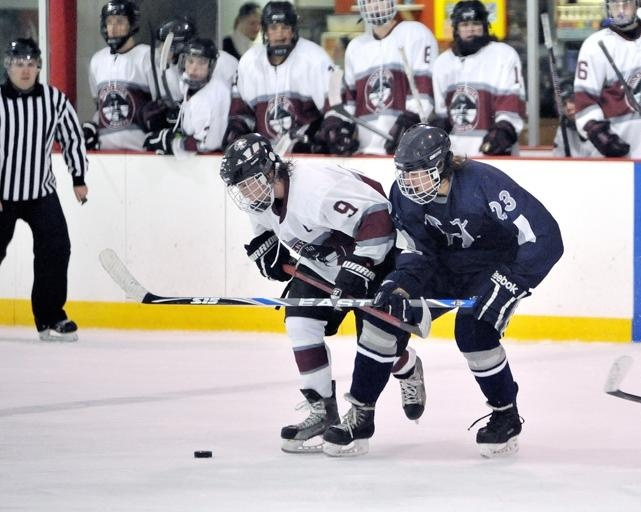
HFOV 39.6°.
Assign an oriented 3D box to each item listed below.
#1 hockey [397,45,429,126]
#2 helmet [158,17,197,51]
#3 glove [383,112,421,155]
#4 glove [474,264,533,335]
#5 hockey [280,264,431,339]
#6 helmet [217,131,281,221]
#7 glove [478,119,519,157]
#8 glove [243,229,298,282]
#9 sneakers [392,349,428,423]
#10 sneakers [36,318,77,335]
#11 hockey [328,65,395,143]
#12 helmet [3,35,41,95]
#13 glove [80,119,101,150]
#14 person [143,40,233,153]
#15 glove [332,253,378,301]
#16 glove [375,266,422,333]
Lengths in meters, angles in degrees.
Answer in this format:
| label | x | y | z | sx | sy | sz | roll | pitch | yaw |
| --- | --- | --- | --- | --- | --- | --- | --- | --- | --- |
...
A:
| label | x | y | z | sx | sy | sz | roll | pitch | yaw |
| --- | --- | --- | --- | --- | --- | --- | --- | --- | --- |
| hockey | 0.553 | -1.024 | 5.342 | 0.197 | 0.440 | 0.212 | 3 | 11 | 23 |
| helmet | -0.921 | -1.395 | 5.676 | 0.232 | 0.203 | 0.198 | 5 | 8 | 2 |
| glove | 0.466 | -0.730 | 5.375 | 0.103 | 0.262 | 0.199 | 18 | 17 | -21 |
| glove | 0.675 | 0.170 | 3.325 | 0.204 | 0.274 | 0.135 | 1 | 10 | 10 |
| hockey | 0.147 | 0.172 | 3.469 | 0.520 | 0.071 | 0.097 | 24 | -6 | 15 |
| helmet | -0.288 | -0.317 | 3.483 | 0.238 | 0.305 | 0.163 | 6 | 12 | 34 |
| glove | 1.041 | -0.684 | 5.191 | 0.182 | 0.221 | 0.089 | 45 | -5 | 24 |
| glove | -0.212 | 0.009 | 3.742 | 0.201 | 0.201 | 0.085 | 49 | 15 | -3 |
| sneakers | 0.360 | 0.564 | 3.788 | 0.101 | 0.321 | 0.154 | -17 | -33 | 30 |
| sneakers | -1.537 | 0.419 | 5.194 | 0.175 | 0.081 | 0.107 | -3 | 1 | 22 |
| hockey | 0.213 | -0.862 | 5.369 | 0.430 | 0.117 | 0.430 | 25 | 38 | -28 |
| helmet | -1.742 | -1.109 | 5.191 | 0.198 | 0.303 | 0.186 | -4 | 10 | -19 |
| glove | -1.513 | -0.787 | 5.846 | 0.081 | 0.198 | 0.146 | -4 | 6 | 20 |
| person | -0.845 | -0.981 | 5.526 | 0.540 | 0.705 | 0.533 | 7 | 17 | 8 |
| glove | 0.157 | 0.084 | 3.462 | 0.120 | 0.193 | 0.247 | 6 | 12 | 34 |
| glove | 0.295 | 0.179 | 3.373 | 0.179 | 0.207 | 0.184 | 0 | 10 | 5 |
